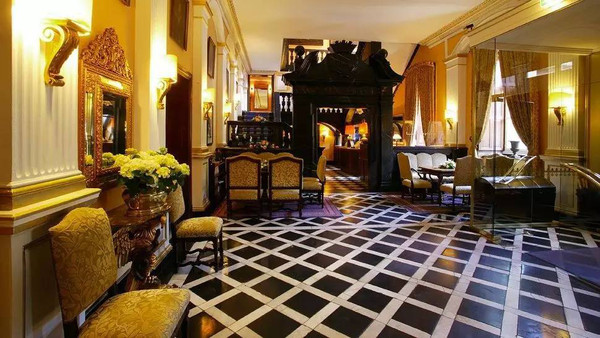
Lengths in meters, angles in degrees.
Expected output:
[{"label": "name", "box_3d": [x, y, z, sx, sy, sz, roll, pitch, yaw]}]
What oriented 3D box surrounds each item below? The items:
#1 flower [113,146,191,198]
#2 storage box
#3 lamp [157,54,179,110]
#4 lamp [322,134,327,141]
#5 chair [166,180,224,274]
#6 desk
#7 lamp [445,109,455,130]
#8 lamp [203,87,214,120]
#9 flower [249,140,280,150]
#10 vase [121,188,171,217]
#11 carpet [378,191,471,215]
[{"label": "flower", "box_3d": [-1.914, 0.071, 4.932, 0.696, 0.415, 0.728, 5, 2, -34]}, {"label": "storage box", "box_3d": [3.902, 0.533, 7.140, 1.386, 0.823, 0.966, -1, 8, -4]}, {"label": "lamp", "box_3d": [-2.044, -1.335, 5.735, 0.297, 0.824, 0.250, -1, 8, -8]}, {"label": "lamp", "box_3d": [1.317, -1.648, 19.787, 0.187, 0.280, 0.063, -3, 8, -17]}, {"label": "chair", "box_3d": [-1.649, 0.924, 5.941, 0.886, 1.263, 0.839, 0, 5, -17]}, {"label": "desk", "box_3d": [-2.274, 1.099, 5.184, 0.985, 1.162, 1.246, 2, 5, -11]}, {"label": "lamp", "box_3d": [4.740, -1.537, 11.756, 0.317, 0.646, 0.175, 3, 9, 23]}, {"label": "lamp", "box_3d": [-1.966, -1.405, 8.069, 0.222, 0.659, 0.211, 0, 10, -15]}, {"label": "flower", "box_3d": [-1.024, -0.682, 10.675, 0.850, 0.258, 0.901, -2, 9, -9]}, {"label": "vase", "box_3d": [-2.071, 0.381, 4.979, 0.581, 0.339, 0.606, 12, 9, -6]}, {"label": "carpet", "box_3d": [2.881, 0.853, 8.938, 2.052, 0.121, 1.339, 8, 12, 43]}]
